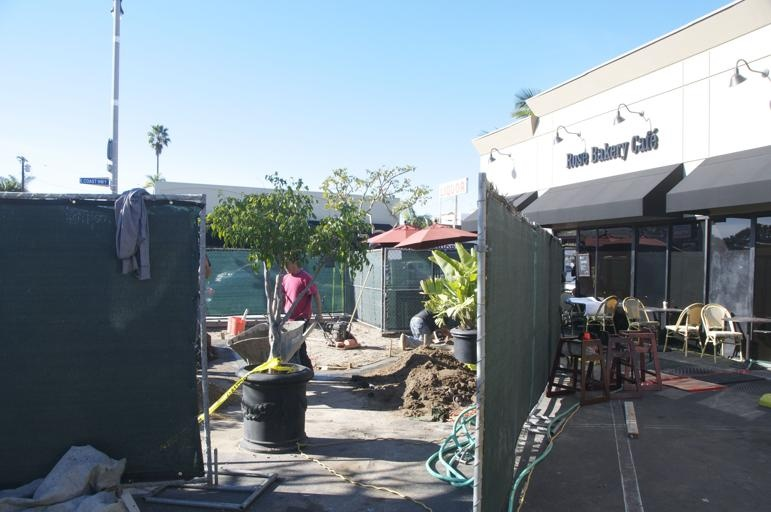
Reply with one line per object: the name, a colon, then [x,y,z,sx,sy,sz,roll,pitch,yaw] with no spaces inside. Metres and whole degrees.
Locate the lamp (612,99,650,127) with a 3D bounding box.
lamp: [6.542,-3.762,20.020,0.430,0.629,1.056,-27,37,-31]

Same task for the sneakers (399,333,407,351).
sneakers: [0.465,2.110,18.671,0.163,0.418,0.136,1,8,-3]

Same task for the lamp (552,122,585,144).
lamp: [5.418,-3.586,22.371,0.883,0.567,0.398,11,20,33]

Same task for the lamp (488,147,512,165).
lamp: [4.016,-3.540,26.245,0.837,0.537,0.337,3,0,-15]
